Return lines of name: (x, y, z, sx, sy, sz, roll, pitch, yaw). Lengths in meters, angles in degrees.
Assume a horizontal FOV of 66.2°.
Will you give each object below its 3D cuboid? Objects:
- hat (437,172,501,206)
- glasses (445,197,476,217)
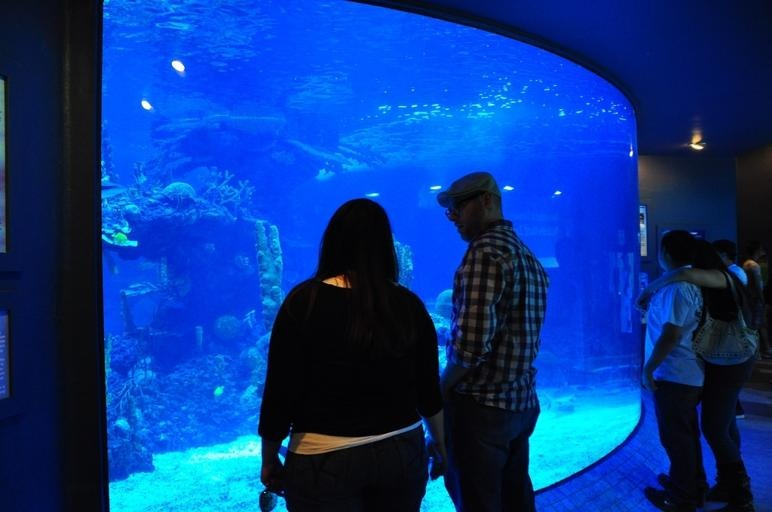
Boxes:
hat: (0.990, -0.828, 7.096, 0.597, 0.281, 0.428, 1, -5, -3)
glasses: (0.888, -0.574, 7.114, 0.248, 0.071, 0.235, -30, 5, -18)
